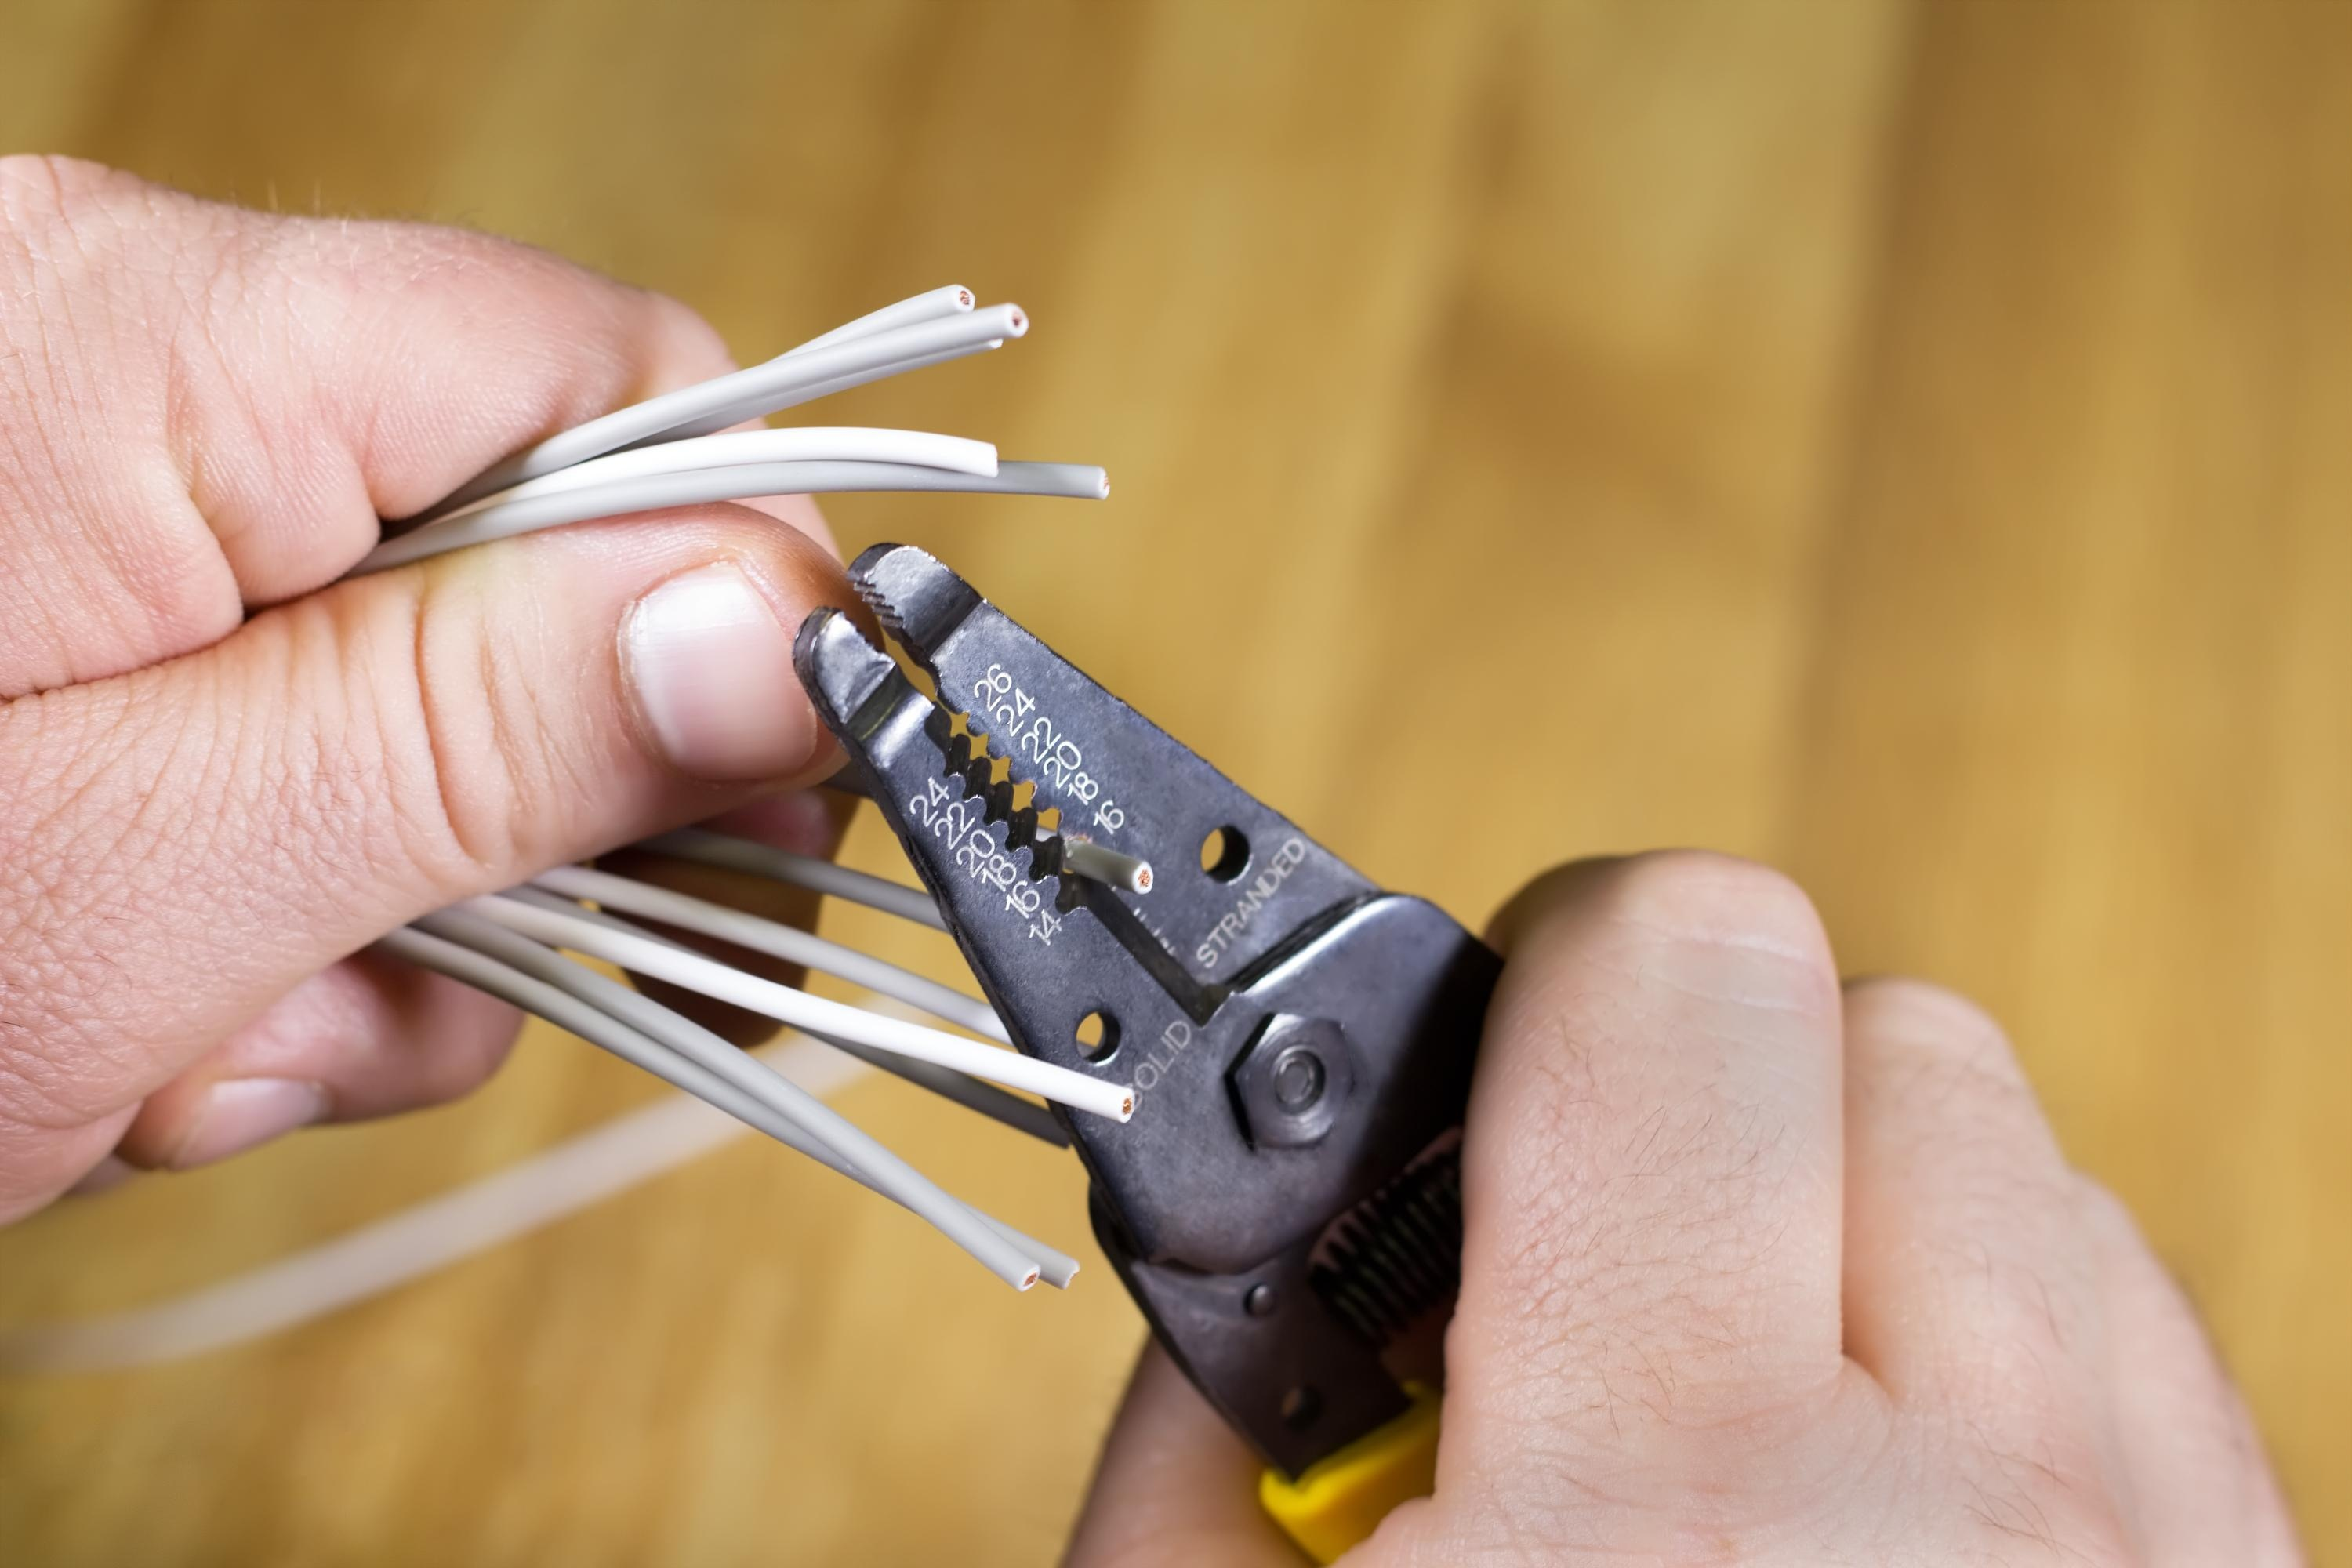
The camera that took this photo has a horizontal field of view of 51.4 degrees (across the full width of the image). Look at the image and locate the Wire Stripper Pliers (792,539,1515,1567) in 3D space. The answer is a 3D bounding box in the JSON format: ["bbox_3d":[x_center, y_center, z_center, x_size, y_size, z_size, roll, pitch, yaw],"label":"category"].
[{"bbox_3d":[0.032,0.109,1.012,0.089,0.222,0.555,40,-8,49],"label":"Wire Stripper Pliers"}]
